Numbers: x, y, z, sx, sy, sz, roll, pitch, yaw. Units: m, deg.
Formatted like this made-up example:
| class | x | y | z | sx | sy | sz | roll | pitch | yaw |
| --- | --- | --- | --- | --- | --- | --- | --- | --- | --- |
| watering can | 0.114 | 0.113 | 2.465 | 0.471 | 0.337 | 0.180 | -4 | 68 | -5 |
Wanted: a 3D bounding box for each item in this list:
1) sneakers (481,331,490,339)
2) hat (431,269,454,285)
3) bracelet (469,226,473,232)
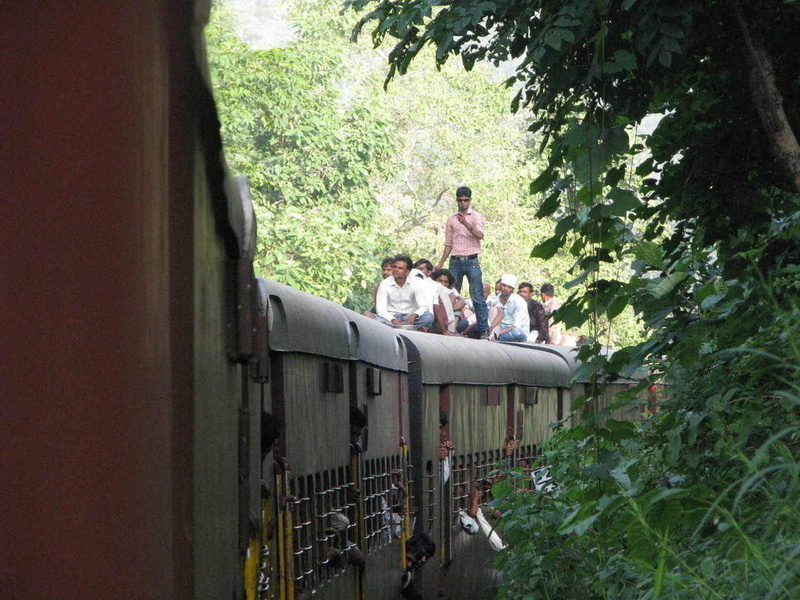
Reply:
| class | x | y | z | sx | sy | sz | roll | pitch | yaw |
| --- | --- | --- | --- | --- | --- | --- | --- | --- | --- |
| sneakers | 1.205 | 0.474 | 12.901 | 0.072 | 0.125 | 0.099 | 6 | 11 | 15 |
| hat | 0.560 | -0.317 | 11.988 | 0.179 | 0.237 | 0.220 | 4 | 12 | 1 |
| bracelet | 0.936 | -0.926 | 12.125 | 0.015 | 0.058 | 0.053 | -9 | 10 | 22 |
